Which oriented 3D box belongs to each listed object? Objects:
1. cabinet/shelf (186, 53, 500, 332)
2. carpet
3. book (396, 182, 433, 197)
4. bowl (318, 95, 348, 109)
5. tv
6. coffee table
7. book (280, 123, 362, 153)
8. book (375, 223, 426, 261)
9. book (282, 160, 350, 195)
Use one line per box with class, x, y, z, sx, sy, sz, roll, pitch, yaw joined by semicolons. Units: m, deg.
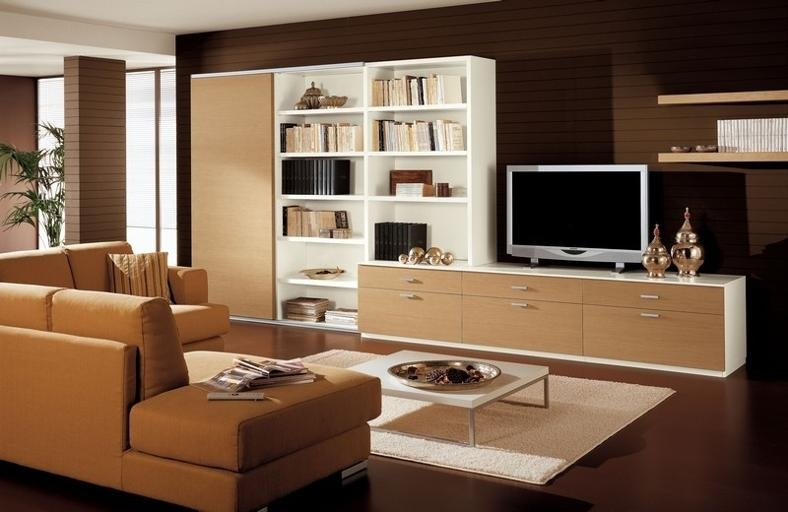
cabinet/shelf;-0.470;-0.720;6.849;4.965;2.587;0.860;1;2;23
carpet;0.761;1.041;4.256;1.555;0.288;1.642;-7;-7;44
book;0.228;-0.735;6.616;0.415;0.145;0.176;0;8;2
bowl;-0.710;-1.819;7.067;0.265;0.085;0.259;0;4;0
tv;1.862;-0.385;5.876;1.562;0.781;0.377;2;4;26
coffee table;0.224;0.836;4.006;0.898;0.196;0.909;3;5;33
book;-0.880;-1.395;7.085;1.069;0.352;0.147;3;10;26
book;0.068;-0.120;6.828;0.686;0.448;0.498;-1;-4;23
book;-0.991;-0.954;7.185;0.832;0.430;0.220;3;10;23
